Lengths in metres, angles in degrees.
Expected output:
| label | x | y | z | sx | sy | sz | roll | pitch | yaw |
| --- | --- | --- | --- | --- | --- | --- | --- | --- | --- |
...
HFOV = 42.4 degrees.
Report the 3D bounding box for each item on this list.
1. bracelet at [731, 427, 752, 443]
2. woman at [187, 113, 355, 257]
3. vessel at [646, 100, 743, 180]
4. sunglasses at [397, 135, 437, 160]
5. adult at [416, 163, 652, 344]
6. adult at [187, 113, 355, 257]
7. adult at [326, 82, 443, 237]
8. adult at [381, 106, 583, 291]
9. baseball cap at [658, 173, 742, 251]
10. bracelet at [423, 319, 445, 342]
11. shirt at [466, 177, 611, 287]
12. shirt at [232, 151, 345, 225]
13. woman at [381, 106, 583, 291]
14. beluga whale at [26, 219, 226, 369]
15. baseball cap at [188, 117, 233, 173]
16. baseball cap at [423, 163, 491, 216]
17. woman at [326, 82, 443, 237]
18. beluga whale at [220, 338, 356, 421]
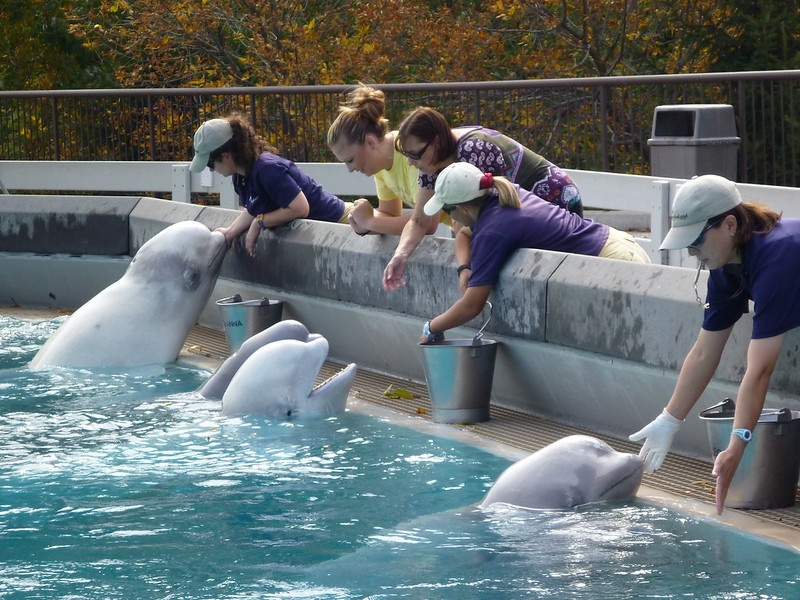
| label | x | y | z | sx | sy | sz | roll | pitch | yaw |
| --- | --- | --- | --- | --- | --- | --- | --- | --- | --- |
| bracelet | 1.481 | 0.575 | 4.444 | 0.065 | 0.041 | 0.064 | 3 | 0 | -42 |
| woman | -0.770 | -1.027 | 8.518 | 1.968 | 1.021 | 0.738 | -11 | 10 | -39 |
| vessel | 2.820 | -1.510 | 9.878 | 0.822 | 0.696 | 0.555 | 2 | 13 | 15 |
| sunglasses | 0.095 | -0.953 | 6.383 | 0.170 | 0.053 | 0.164 | -37 | 26 | -15 |
| adult | 0.893 | -0.342 | 6.362 | 1.794 | 0.887 | 0.668 | -1 | 24 | -14 |
| adult | -0.761 | -1.001 | 8.527 | 2.006 | 1.148 | 0.784 | -9 | 8 | -39 |
| adult | -0.047 | -1.015 | 7.157 | 0.778 | 1.113 | 0.538 | -26 | 22 | -14 |
| adult | 0.563 | -0.520 | 6.779 | 1.471 | 1.352 | 0.783 | -8 | 1 | -18 |
| baseball cap | 1.323 | -0.367 | 4.594 | 0.402 | 0.239 | 0.265 | -38 | 19 | -7 |
| bracelet | 0.205 | 0.193 | 6.189 | 0.096 | 0.142 | 0.095 | 2 | 6 | -20 |
| shirt | 0.817 | -0.388 | 6.149 | 0.728 | 0.435 | 0.573 | -4 | 33 | 14 |
| shirt | -0.758 | -0.891 | 8.505 | 1.387 | 0.597 | 0.761 | -9 | 9 | -40 |
| woman | 0.548 | -0.545 | 6.740 | 1.470 | 1.396 | 0.824 | -9 | 1 | -20 |
| beluga whale | -1.919 | -0.036 | 7.850 | 0.610 | 0.797 | 1.794 | 17 | 27 | 37 |
| baseball cap | -1.464 | -1.189 | 7.978 | 0.362 | 0.405 | 0.194 | -1 | 13 | 2 |
| baseball cap | 0.293 | -0.670 | 6.019 | 0.397 | 0.232 | 0.297 | -12 | 21 | 1 |
| woman | -0.042 | -1.012 | 7.161 | 0.768 | 1.100 | 0.547 | -27 | 22 | -17 |
| beluga whale | -0.679 | 0.468 | 6.224 | 0.756 | 0.409 | 0.416 | -2 | 0 | -5 |
